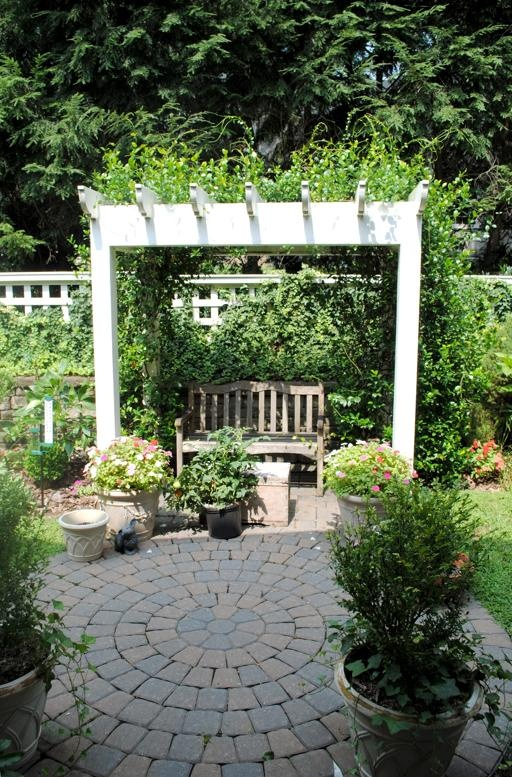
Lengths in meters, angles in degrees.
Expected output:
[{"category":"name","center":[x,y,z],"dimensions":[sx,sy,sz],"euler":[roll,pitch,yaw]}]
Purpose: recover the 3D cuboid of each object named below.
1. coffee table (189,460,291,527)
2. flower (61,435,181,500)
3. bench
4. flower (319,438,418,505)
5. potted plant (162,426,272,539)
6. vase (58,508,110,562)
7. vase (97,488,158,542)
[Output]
[{"category":"coffee table","center":[-0.036,0.730,4.682],"dimensions":[0.587,0.554,0.427],"euler":[1,-3,9]},{"category":"flower","center":[-0.916,0.510,4.258],"dimensions":[0.515,0.308,0.594],"euler":[-6,5,-36]},{"category":"bench","center":[-0.043,0.431,5.144],"dimensions":[1.026,0.746,0.406],"euler":[0,3,5]},{"category":"flower","center":[0.764,0.593,4.031],"dimensions":[0.489,0.376,0.550],"euler":[-9,-16,36]},{"category":"potted plant","center":[-0.293,0.639,4.519],"dimensions":[0.776,0.732,0.673],"euler":[-2,1,-4]},{"category":"vase","center":[-1.094,0.971,3.871],"dimensions":[0.370,0.204,0.372],"euler":[-3,-4,21]},{"category":"vase","center":[-0.848,0.826,4.080],"dimensions":[0.381,0.291,0.376],"euler":[0,-2,-1]}]
